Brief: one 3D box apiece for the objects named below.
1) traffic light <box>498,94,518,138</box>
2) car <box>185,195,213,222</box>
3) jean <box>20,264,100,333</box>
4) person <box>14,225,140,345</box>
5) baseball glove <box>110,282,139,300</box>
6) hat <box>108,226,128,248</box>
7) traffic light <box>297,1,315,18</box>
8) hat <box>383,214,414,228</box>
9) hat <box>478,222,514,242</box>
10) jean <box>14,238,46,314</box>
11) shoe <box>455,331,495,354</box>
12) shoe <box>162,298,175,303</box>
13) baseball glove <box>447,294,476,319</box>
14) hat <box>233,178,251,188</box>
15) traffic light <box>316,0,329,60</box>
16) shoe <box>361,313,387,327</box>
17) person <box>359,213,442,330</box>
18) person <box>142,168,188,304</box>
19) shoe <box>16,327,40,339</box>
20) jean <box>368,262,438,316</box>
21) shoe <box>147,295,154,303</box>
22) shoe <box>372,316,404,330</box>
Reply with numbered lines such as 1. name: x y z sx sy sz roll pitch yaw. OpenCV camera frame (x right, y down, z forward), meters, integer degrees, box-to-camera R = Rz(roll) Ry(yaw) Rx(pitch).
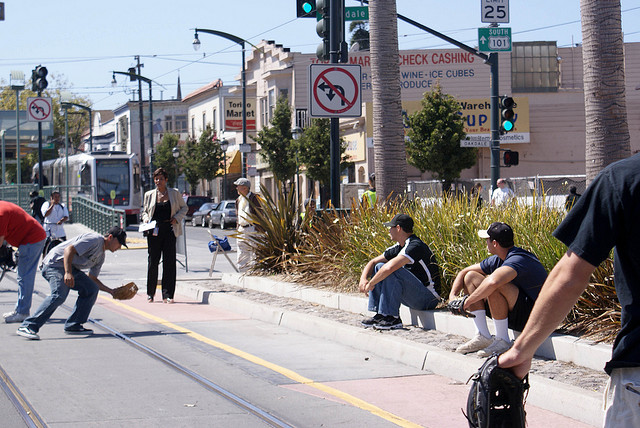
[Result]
1. traffic light: 4.767 -2.651 23.441 0.463 1.265 0.300 -4 30 3
2. car: -6.326 -0.257 46.832 1.150 1.204 2.449 -1 6 -17
3. jean: -3.548 1.058 12.487 0.887 1.496 0.867 8 -10 -27
4. person: -3.474 0.980 12.662 1.515 1.502 0.981 -2 2 -19
5. baseball glove: -2.750 1.117 12.707 0.327 0.128 0.242 -1 -4 -42
6. hat: -2.873 0.343 12.686 0.234 0.283 0.650 -3 7 -13
7. traffic light: -0.211 -3.859 16.648 0.404 0.272 0.327 -3 2 -45
8. hat: 1.105 0.120 12.383 0.292 0.169 0.196 -1 -1 23
9. hat: 2.096 0.228 10.732 0.301 0.193 0.223 5 1 24
10. jean: -4.256 0.866 13.036 0.342 1.402 0.364 -1 25 -26
11. shoe: 1.850 1.585 10.917 0.561 0.266 0.203 -7 1 -3
12. shoe: -2.644 1.537 15.612 0.203 0.091 0.200 -3 7 -11
13. baseball glove: 1.692 1.157 11.012 0.259 0.299 0.419 -6 9 -35
14. hat: -1.533 -0.610 17.047 0.367 0.201 0.277 5 -2 6
15. traffic light: 0.034 -3.411 16.310 0.213 1.050 0.635 -1 2 -2
16. shoe: 0.720 1.504 12.265 0.338 0.163 0.133 -2 -3 -2
17. person: 1.101 0.814 12.362 1.136 1.590 0.633 -1 2 -6
18. person: -2.731 0.398 15.590 0.849 2.372 0.628 -2 2 -29
19. shoe: -3.972 1.643 12.261 0.336 0.135 0.131 19 9 14
20. jean: 1.161 1.087 12.549 1.098 0.777 1.030 1 -9 24
21. shoe: -2.959 1.527 15.654 0.084 0.130 0.119 -4 9 -42
22. shoe: 0.926 1.531 12.253 0.428 0.201 0.160 4 -5 -25
